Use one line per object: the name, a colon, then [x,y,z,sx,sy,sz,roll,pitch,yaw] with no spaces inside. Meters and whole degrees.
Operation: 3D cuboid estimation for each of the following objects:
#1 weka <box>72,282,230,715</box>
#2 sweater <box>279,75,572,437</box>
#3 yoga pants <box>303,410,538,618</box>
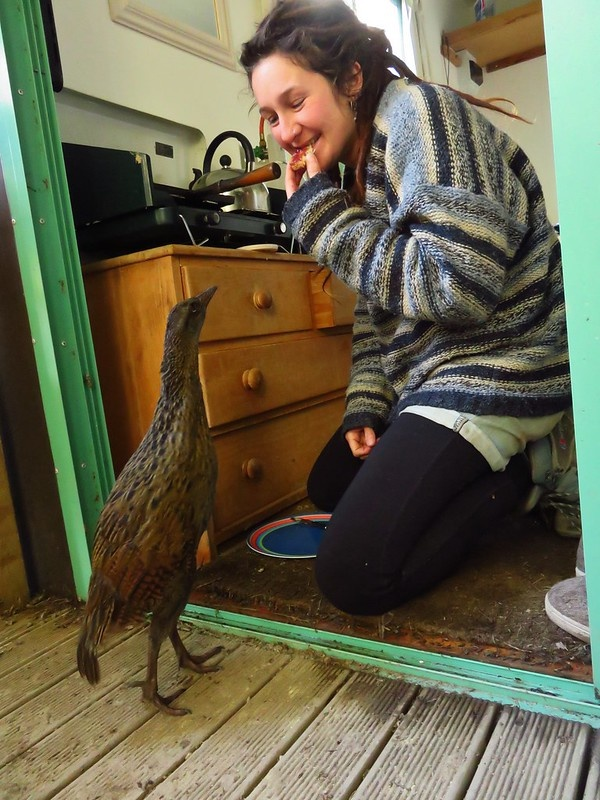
weka: [-0.187,0.119,0.875,0.332,0.517,0.242,-2,17,-19]
sweater: [0.296,-0.192,1.142,0.396,0.695,0.441,-16,13,-40]
yoga pants: [0.154,0.149,1.144,0.502,0.308,0.456,6,16,9]
